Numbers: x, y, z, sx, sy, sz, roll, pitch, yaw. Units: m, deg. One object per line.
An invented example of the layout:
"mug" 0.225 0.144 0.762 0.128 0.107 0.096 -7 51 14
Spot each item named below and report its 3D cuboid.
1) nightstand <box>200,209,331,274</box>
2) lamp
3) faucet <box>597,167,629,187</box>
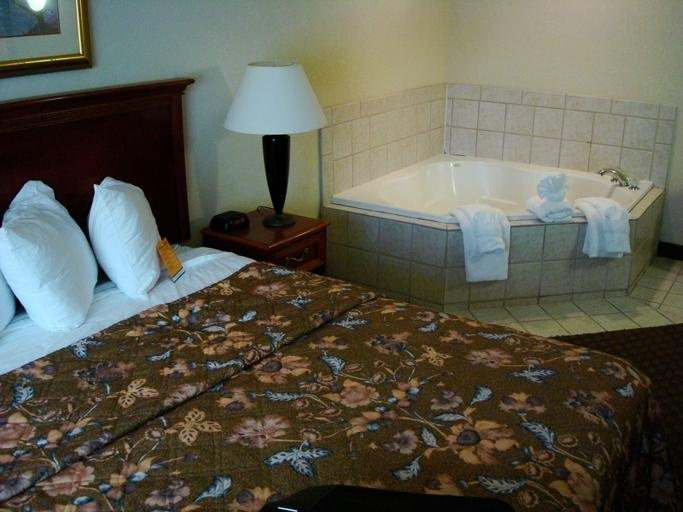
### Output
"nightstand" -0.448 -0.159 3.042 0.523 0.411 0.502 13 24 32
"lamp" -0.344 -0.675 3.042 0.634 0.940 0.641 17 27 38
"faucet" 2.163 -0.628 3.925 0.068 0.081 0.311 -18 30 -12
